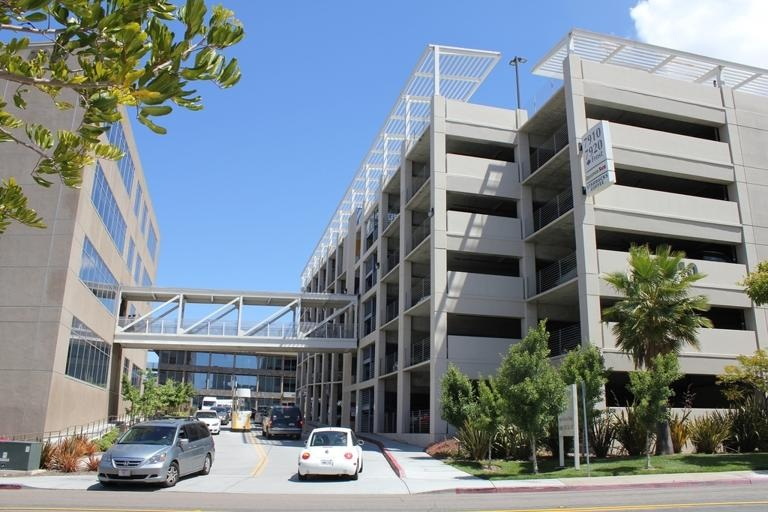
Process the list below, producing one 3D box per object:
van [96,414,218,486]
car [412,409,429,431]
[{"bbox_3d":[-7.557,6.803,20.012,1.959,1.424,3.803,-3,-20,4],"label":"van"},{"bbox_3d":[2.220,10.095,35.133,0.932,1.379,3.047,1,-19,-7],"label":"car"}]
